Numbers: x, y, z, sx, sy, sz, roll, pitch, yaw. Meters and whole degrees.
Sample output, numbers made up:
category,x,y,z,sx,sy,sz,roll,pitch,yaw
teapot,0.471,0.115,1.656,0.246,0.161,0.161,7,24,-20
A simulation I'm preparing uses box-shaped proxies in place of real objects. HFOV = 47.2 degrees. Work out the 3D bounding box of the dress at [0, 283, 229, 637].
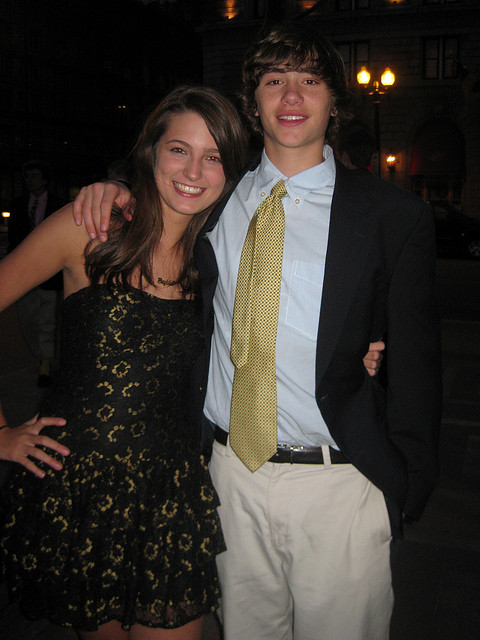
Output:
category,x,y,z,sx,sy,sz,roll,pitch,yaw
dress,-0.465,0.519,2.036,0.809,1.269,0.526,-4,14,-6

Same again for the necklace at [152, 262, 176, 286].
category,x,y,z,sx,sy,sz,roll,pitch,yaw
necklace,-0.311,-0.171,2.168,0.100,0.081,0.062,8,17,35
